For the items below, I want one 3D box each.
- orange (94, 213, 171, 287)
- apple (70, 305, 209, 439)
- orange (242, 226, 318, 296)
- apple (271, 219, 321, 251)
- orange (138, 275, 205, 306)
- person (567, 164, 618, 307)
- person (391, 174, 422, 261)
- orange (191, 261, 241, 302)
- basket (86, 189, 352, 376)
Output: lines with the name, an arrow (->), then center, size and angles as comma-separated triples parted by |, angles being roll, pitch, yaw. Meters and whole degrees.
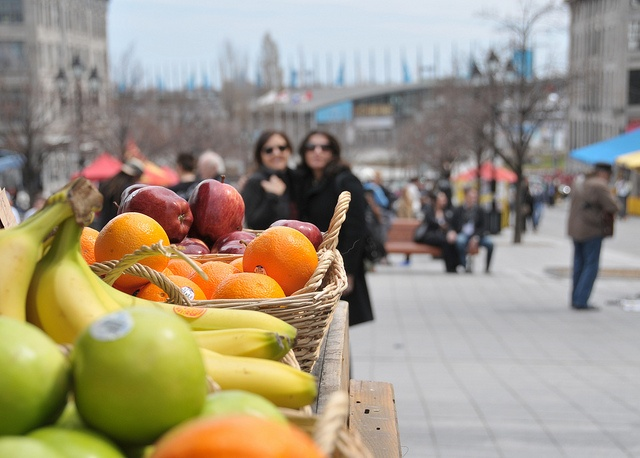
orange -> -0.727, 0.108, 2.959 | 0.263, 0.340, 0.274 | -3, -6, -8
apple -> -0.560, 0.420, 2.400 | 0.367, 0.405, 0.358 | 12, 20, -7
orange -> -0.178, 0.098, 3.132 | 0.279, 0.268, 0.259 | 36, 4, -12
apple -> -0.094, 0.002, 3.461 | 0.148, 0.155, 0.157 | 8, 1, -5
orange -> -0.571, 0.234, 2.889 | 0.135, 0.110, 0.138 | 17, -4, -12
person -> 2.636, 0.009, 7.316 | 0.465, 1.226, 1.118 | -1, 9, 20
person -> 1.591, -0.535, 13.779 | 0.530, 0.514, 1.531 | -15, 34, 18
orange -> -0.433, 0.200, 3.127 | 0.159, 0.153, 0.151 | -5, 44, 11
basket -> -0.331, 0.188, 2.995 | 0.794, 0.559, 0.626 | -1, 2, 4
